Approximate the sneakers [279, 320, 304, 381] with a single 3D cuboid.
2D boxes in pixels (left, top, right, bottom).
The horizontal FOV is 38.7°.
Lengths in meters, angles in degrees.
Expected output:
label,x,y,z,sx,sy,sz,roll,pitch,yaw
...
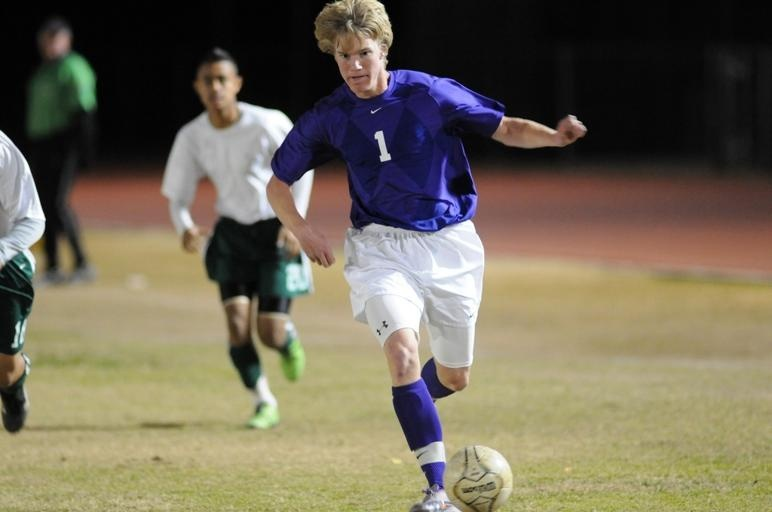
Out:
label,x,y,z,sx,sy,sz,roll,pitch,yaw
sneakers,-0.736,0.857,9.402,0.207,0.517,0.240,-10,44,-10
